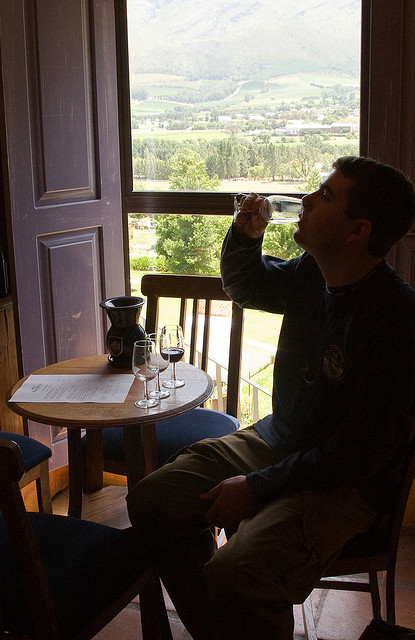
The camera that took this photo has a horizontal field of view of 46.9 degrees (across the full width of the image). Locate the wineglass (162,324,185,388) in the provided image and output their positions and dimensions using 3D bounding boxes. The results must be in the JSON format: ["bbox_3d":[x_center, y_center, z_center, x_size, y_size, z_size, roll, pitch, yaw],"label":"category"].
[{"bbox_3d":[-0.108,0.105,1.498,0.068,0.178,0.168,-1,15,-5],"label":"wineglass"}]

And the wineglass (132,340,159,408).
[{"bbox_3d":[-0.170,0.142,1.329,0.069,0.169,0.199,-2,16,-8],"label":"wineglass"}]

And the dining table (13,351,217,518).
[{"bbox_3d":[-0.266,0.467,1.589,0.600,0.498,0.643,2,21,-1],"label":"dining table"}]

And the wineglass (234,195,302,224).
[{"bbox_3d":[0.152,-0.281,1.232,0.166,0.071,0.118,2,16,3],"label":"wineglass"}]

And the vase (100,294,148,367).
[{"bbox_3d":[-0.274,0.041,1.603,0.154,0.225,0.159,-8,14,-28],"label":"vase"}]
